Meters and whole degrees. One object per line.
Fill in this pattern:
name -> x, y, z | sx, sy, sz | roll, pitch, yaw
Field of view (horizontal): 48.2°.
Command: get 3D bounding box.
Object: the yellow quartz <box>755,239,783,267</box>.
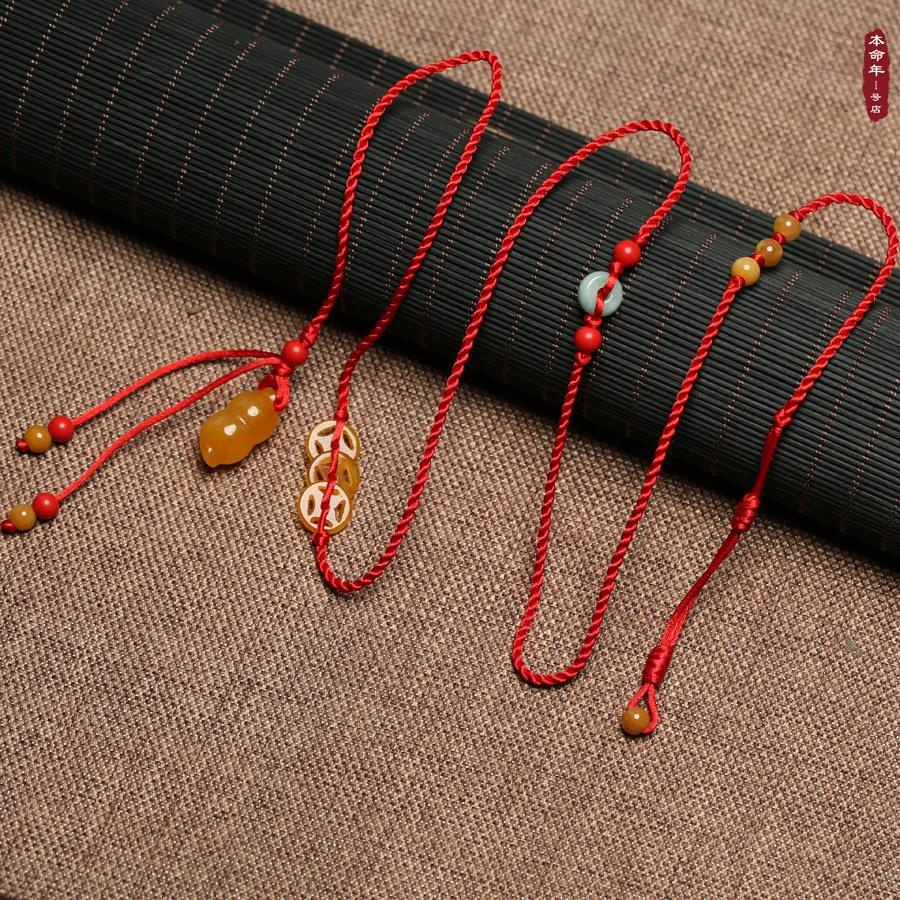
yellow quartz -> 0.278, -0.174, 0.886 | 0.028, 0.026, 0.026 | -3, -1, 13

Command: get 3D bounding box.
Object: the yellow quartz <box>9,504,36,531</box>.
yellow quartz -> -0.395, 0.062, 0.931 | 0.028, 0.022, 0.014 | -12, 4, -17

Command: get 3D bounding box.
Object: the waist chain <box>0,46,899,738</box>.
waist chain -> 0.018, -0.053, 0.987 | 0.829, 0.655, 0.069 | 26, 10, 11

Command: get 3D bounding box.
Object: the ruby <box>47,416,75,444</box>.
ruby -> -0.363, -0.019, 0.941 | 0.028, 0.025, 0.025 | 2, 4, 15

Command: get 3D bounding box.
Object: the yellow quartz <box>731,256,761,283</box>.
yellow quartz -> 0.256, -0.157, 0.878 | 0.030, 0.024, 0.014 | 8, 3, -7

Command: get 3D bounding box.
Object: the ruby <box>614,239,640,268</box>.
ruby -> 0.151, -0.169, 0.871 | 0.028, 0.022, 0.024 | 6, 5, -6

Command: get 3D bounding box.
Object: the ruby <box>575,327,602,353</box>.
ruby -> 0.118, -0.095, 0.874 | 0.026, 0.024, 0.023 | 0, -4, -12

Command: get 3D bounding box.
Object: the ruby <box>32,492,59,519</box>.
ruby -> -0.372, 0.052, 0.931 | 0.028, 0.025, 0.025 | 0, 2, 17

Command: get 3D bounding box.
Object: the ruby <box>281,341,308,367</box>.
ruby -> -0.144, -0.088, 0.928 | 0.027, 0.025, 0.024 | 5, 0, -15
